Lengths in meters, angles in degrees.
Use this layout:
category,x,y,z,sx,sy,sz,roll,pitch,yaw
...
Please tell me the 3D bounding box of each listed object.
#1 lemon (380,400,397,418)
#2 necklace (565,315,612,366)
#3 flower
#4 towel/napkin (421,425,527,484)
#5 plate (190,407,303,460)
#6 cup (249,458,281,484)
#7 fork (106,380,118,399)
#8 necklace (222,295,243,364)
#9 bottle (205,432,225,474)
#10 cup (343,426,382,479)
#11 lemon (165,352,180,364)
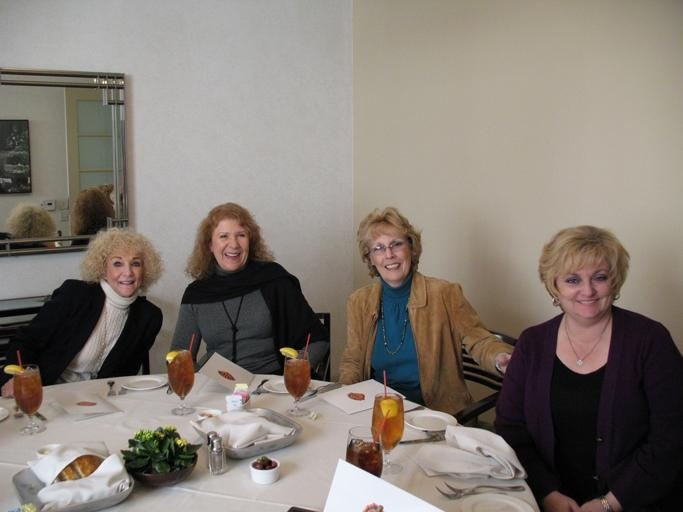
category,x,y,z,sx,sy,sz,roll,pitch,yaw
lemon,0.136,0.445,1.535,0.043,0.044,0.046,7,-28,5
necklace,0.904,0.292,1.935,0.105,0.210,0.034,18,17,26
flower,-0.543,0.581,1.546,0.147,0.080,0.155,2,-7,0
towel/napkin,0.390,0.624,1.613,0.195,0.053,0.215,-1,5,-14
plate,-0.282,0.569,1.719,0.179,0.060,0.186,-1,0,20
cup,-0.225,0.630,1.540,0.071,0.056,0.074,1,-3,0
fork,-0.926,0.546,2.132,0.045,0.090,0.046,0,3,-20
necklace,-0.567,0.389,2.773,0.112,0.329,0.132,-2,8,-11
bottle,-0.389,0.590,1.633,0.053,0.120,0.139,-3,8,-15
cup,0.063,0.546,1.471,0.116,0.177,0.124,0,-12,0
lemon,-0.596,0.366,1.855,0.041,0.025,0.042,-19,18,-14
